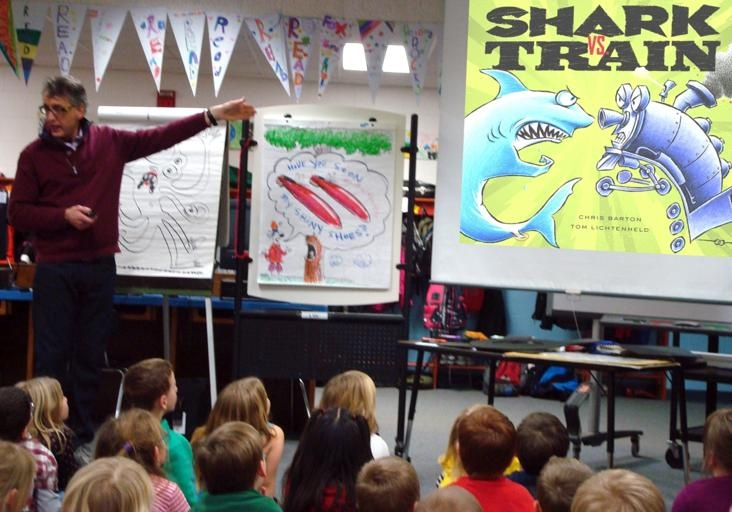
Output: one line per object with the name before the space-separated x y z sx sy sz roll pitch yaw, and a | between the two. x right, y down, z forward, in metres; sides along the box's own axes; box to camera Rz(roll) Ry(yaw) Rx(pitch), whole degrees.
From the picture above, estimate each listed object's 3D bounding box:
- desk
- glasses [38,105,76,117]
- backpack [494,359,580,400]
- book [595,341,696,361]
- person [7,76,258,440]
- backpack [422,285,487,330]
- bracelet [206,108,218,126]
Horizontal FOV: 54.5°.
desk | 0.886 0.858 4.031 0.861 0.786 1.463 11 -9 -43
glasses | -1.698 -0.803 3.939 0.103 0.036 0.111 1 1 -3
backpack | 1.659 1.199 6.865 0.917 0.389 0.764 0 4 -2
book | 1.545 0.526 3.905 0.569 0.083 0.355 8 -7 -22
person | -1.528 0.041 4.015 0.940 1.985 0.339 8 -7 -30
backpack | 0.897 0.514 7.295 0.604 0.636 0.470 6 1 4
bracelet | -0.901 -0.834 4.227 0.032 0.077 0.085 -21 3 6
